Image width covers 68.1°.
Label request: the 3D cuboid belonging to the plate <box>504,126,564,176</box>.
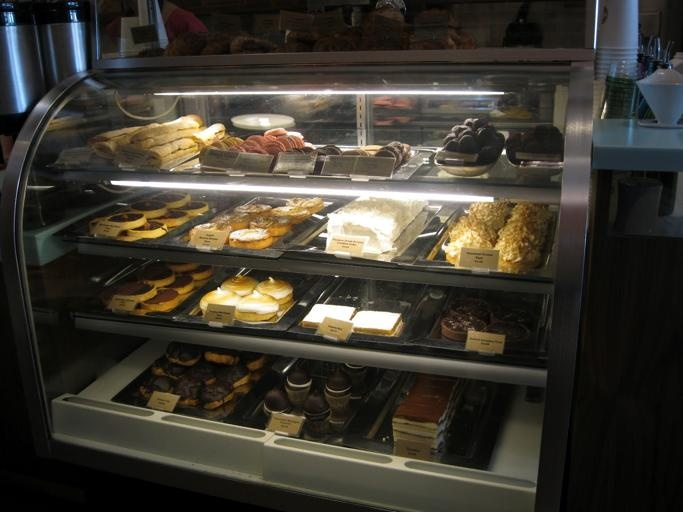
[{"bbox_3d":[0.603,-0.331,1.571,0.173,0.066,0.155,7,25,13],"label":"plate"}]
